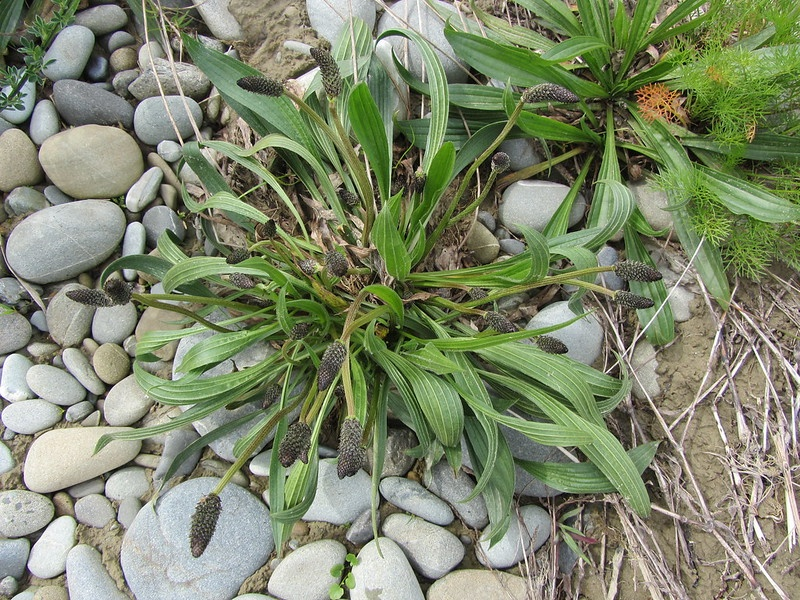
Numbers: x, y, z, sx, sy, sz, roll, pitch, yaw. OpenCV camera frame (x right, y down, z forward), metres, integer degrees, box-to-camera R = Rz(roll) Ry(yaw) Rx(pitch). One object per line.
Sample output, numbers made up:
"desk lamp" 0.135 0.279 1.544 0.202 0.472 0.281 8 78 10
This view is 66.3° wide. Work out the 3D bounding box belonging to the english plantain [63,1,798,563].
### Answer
"english plantain" 0.154 0.104 2.297 1.615 0.665 1.851 -20 78 -2
